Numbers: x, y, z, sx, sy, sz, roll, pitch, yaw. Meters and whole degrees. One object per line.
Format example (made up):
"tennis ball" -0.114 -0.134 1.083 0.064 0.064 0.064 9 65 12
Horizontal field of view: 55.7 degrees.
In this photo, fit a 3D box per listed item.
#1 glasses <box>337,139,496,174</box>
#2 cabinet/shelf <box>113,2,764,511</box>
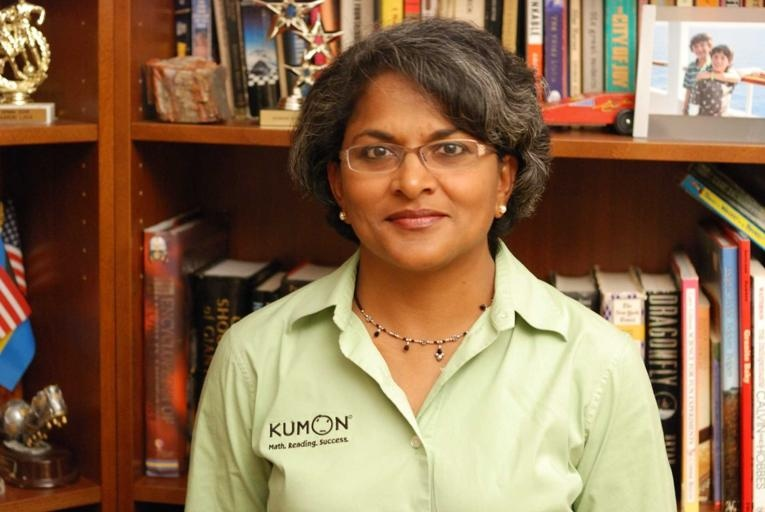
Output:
"glasses" 0.062 -0.183 1.348 0.256 0.060 0.048 -1 8 2
"cabinet/shelf" 0.115 -0.003 1.539 1.292 1.217 0.387 0 3 4
